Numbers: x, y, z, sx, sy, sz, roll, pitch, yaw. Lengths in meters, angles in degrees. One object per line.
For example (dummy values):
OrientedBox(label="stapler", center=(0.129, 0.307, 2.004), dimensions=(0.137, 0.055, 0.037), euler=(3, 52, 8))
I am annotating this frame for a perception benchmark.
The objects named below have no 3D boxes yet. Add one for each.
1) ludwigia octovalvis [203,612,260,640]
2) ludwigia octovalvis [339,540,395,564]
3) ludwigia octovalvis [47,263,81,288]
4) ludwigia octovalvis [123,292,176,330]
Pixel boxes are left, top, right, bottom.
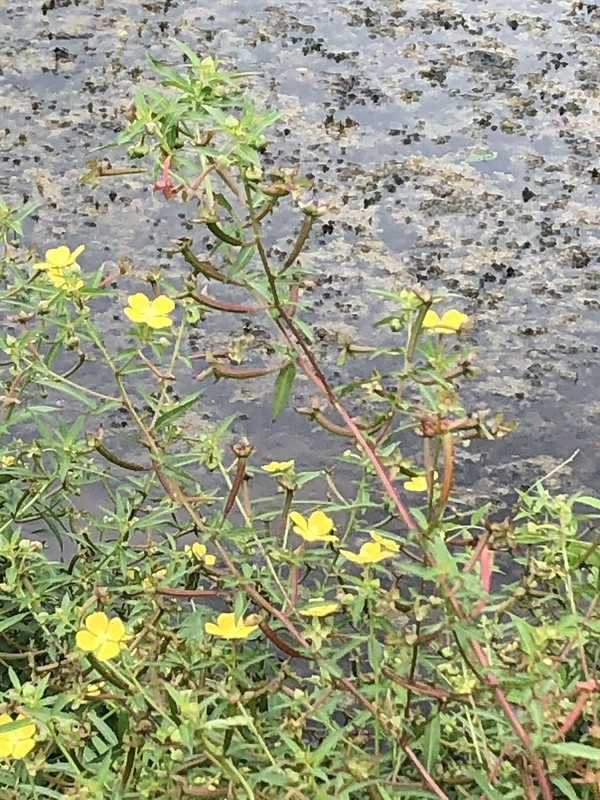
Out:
OrientedBox(label="ludwigia octovalvis", center=(-0.102, 0.340, 1.376), dimensions=(0.080, 0.023, 0.068), euler=(4, 18, -2))
OrientedBox(label="ludwigia octovalvis", center=(0.107, 0.235, 1.413), dimensions=(0.076, 0.074, 0.024), euler=(4, 79, -5))
OrientedBox(label="ludwigia octovalvis", center=(-0.431, -0.224, 1.695), dimensions=(0.028, 0.048, 0.072), euler=(-24, 33, -38))
OrientedBox(label="ludwigia octovalvis", center=(-0.248, -0.149, 1.598), dimensions=(0.092, 0.038, 0.067), euler=(-10, 73, 0))
